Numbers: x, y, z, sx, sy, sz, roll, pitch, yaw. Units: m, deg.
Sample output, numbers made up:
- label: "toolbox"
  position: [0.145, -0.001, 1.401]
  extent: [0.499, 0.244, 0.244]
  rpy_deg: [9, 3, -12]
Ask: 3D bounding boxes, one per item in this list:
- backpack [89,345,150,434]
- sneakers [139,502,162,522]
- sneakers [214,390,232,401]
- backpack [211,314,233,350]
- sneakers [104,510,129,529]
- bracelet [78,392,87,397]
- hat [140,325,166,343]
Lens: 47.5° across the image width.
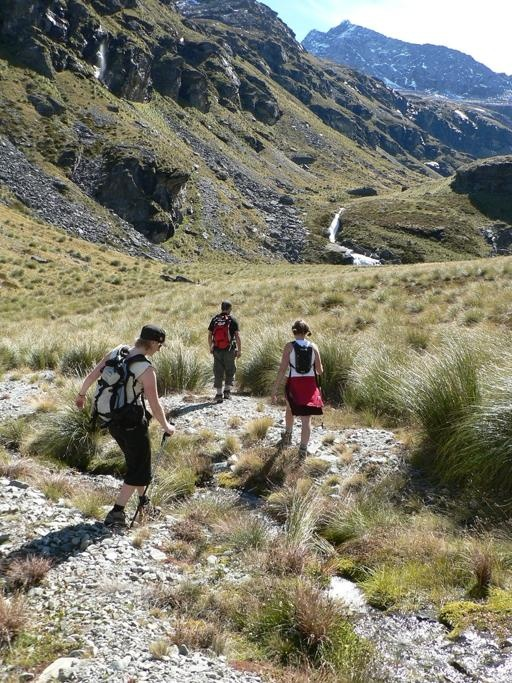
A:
- label: "backpack"
  position: [-1.164, 0.434, 5.077]
  extent: [0.483, 0.725, 0.384]
  rpy_deg: [12, 11, 34]
- label: "sneakers"
  position: [-1.035, 1.687, 5.695]
  extent: [0.195, 0.095, 0.190]
  rpy_deg: [-6, 4, -6]
- label: "sneakers"
  position: [-0.555, 0.927, 9.746]
  extent: [0.133, 0.256, 0.266]
  rpy_deg: [12, -23, -29]
- label: "backpack"
  position: [-0.602, -0.144, 9.483]
  extent: [0.407, 0.559, 0.192]
  rpy_deg: [11, 10, 29]
- label: "sneakers"
  position: [-1.205, 1.614, 5.239]
  extent: [0.265, 0.124, 0.093]
  rpy_deg: [3, -11, 20]
- label: "bracelet"
  position: [-1.611, 0.499, 5.413]
  extent: [0.049, 0.020, 0.053]
  rpy_deg: [2, 3, 2]
- label: "hat"
  position: [-0.892, -0.062, 5.082]
  extent: [0.139, 0.108, 0.221]
  rpy_deg: [21, 14, 40]
